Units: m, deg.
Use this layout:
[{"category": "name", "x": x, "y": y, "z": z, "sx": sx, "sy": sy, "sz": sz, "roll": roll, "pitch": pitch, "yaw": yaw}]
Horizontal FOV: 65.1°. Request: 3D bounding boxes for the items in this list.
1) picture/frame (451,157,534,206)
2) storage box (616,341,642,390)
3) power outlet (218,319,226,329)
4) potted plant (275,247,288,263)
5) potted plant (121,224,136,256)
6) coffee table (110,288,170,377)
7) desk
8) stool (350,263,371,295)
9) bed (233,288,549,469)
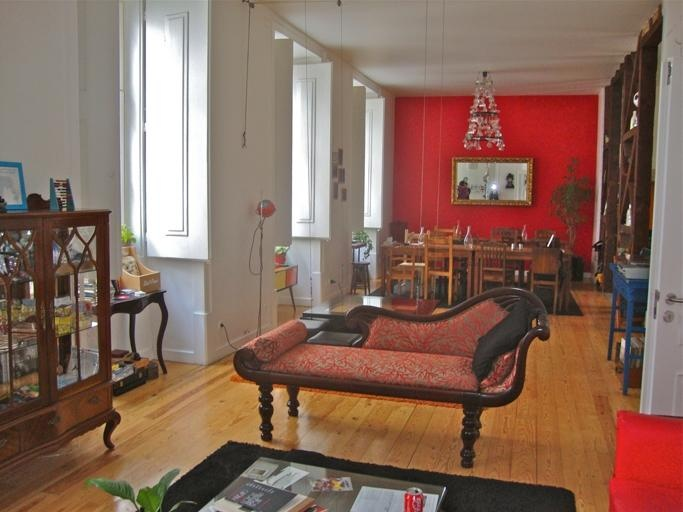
[{"category": "picture/frame", "x": 3.135, "y": -1.564, "z": 11.134, "sx": 1.526, "sy": 0.934, "sz": 0.216, "roll": 2, "pitch": 9, "yaw": 9}, {"category": "storage box", "x": 2.773, "y": 1.020, "z": 5.152, "sx": 0.311, "sy": 0.458, "sz": 0.146, "roll": -1, "pitch": 1, "yaw": 27}, {"category": "power outlet", "x": -1.286, "y": 0.728, "z": 5.736, "sx": 0.011, "sy": 0.095, "sz": 0.127, "roll": 4, "pitch": 10, "yaw": 22}, {"category": "potted plant", "x": -0.916, "y": -0.019, "z": 7.855, "sx": 0.195, "sy": 0.249, "sz": 0.191, "roll": -9, "pitch": 14, "yaw": -44}, {"category": "potted plant", "x": -2.173, "y": -0.168, "z": 5.454, "sx": 0.125, "sy": 0.293, "sz": 0.318, "roll": -3, "pitch": 10, "yaw": -22}, {"category": "coffee table", "x": -1.880, "y": 0.689, "z": 5.119, "sx": 0.529, "sy": 0.560, "sz": 0.371, "roll": -10, "pitch": 1, "yaw": -1}, {"category": "desk", "x": 2.781, "y": 0.607, "z": 5.163, "sx": 0.308, "sy": 0.713, "sz": 0.748, "roll": -2, "pitch": -2, "yaw": 19}, {"category": "stool", "x": 0.266, "y": 0.377, "z": 9.154, "sx": 0.382, "sy": 0.533, "sz": 0.392, "roll": -20, "pitch": -7, "yaw": 3}, {"category": "bed", "x": 0.381, "y": 0.876, "z": 4.101, "sx": 2.237, "sy": 1.277, "sz": 0.923, "roll": 2, "pitch": 6, "yaw": 17}]
